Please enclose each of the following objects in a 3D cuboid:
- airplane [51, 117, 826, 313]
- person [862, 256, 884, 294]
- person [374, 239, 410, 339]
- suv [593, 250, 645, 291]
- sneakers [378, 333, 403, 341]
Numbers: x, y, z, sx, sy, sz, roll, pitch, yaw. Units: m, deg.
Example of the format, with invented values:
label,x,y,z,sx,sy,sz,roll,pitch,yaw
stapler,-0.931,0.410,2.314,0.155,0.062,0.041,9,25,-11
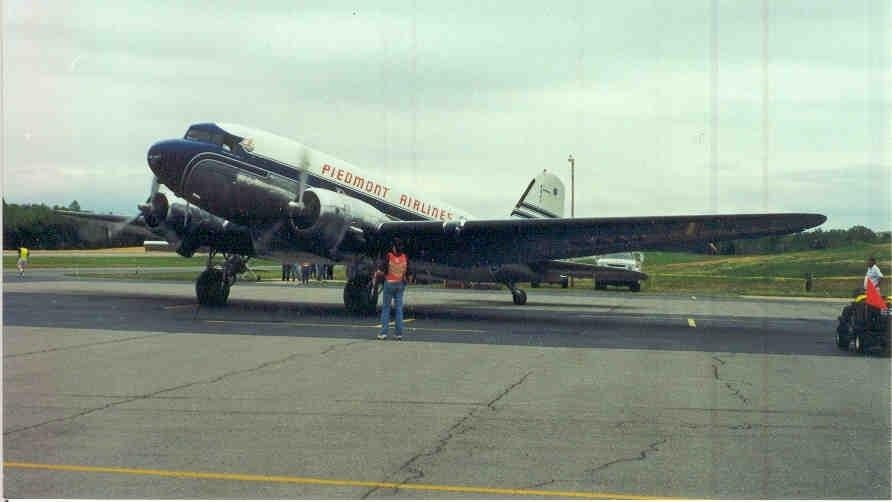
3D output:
label,x,y,z,sx,sy,sz,roll,pitch,yaw
airplane,0.297,-0.740,29.539,18.834,4.936,10.761,2,2,10
person,9.240,0.481,22.183,0.288,0.724,0.537,4,3,40
person,-1.212,0.888,23.553,0.630,2.243,1.112,2,2,3
suv,6.263,0.620,36.716,1.649,1.068,2.412,0,-2,8
sneakers,-1.287,1.967,23.251,0.617,0.241,0.193,1,8,-4
